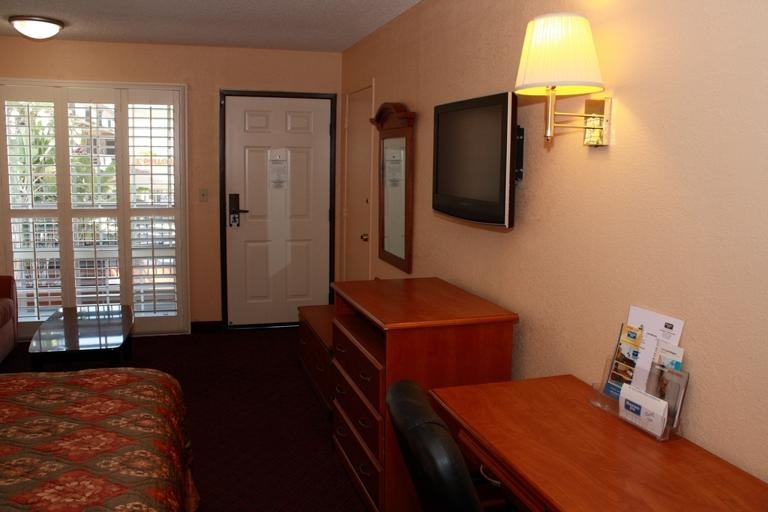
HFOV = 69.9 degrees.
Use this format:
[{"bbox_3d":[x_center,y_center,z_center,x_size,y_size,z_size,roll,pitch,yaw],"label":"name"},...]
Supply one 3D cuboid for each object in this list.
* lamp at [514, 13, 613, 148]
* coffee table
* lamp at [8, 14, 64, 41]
[{"bbox_3d":[0.729,-0.792,2.553,0.516,0.550,0.431,3,11,2],"label":"lamp"},{"bbox_3d":[-2.293,0.619,4.240,0.634,0.205,1.101,-2,14,-22],"label":"coffee table"},{"bbox_3d":[-2.790,-1.843,4.426,0.233,0.079,0.228,-2,2,-40],"label":"lamp"}]
